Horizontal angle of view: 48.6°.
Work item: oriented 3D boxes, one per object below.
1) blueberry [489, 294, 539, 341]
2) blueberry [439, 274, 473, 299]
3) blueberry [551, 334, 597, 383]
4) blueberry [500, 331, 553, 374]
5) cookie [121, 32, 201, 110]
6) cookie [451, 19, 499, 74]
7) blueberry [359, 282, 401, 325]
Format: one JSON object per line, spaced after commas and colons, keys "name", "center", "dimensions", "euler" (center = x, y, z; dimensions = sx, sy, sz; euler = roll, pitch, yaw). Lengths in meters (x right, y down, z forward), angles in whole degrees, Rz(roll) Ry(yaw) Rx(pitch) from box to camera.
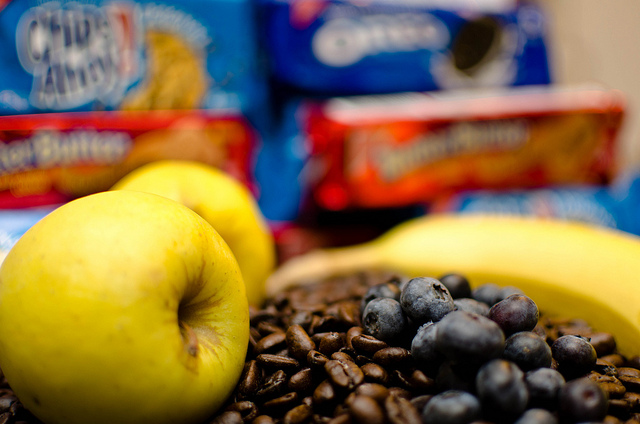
{"name": "blueberry", "center": [0.718, 0.354, 2.616], "dimensions": [0.115, 0.190, 0.131], "euler": [-5, 7, -20]}
{"name": "blueberry", "center": [0.544, 0.292, 2.847], "dimensions": [0.104, 0.087, 0.082], "euler": [10, 2, 35]}
{"name": "blueberry", "center": [0.960, 0.540, 2.662], "dimensions": [0.154, 0.185, 0.158], "euler": [8, -9, -19]}
{"name": "blueberry", "center": [0.732, 0.492, 2.514], "dimensions": [0.105, 0.186, 0.110], "euler": [15, 23, 29]}
{"name": "cookie", "center": [-0.767, -0.671, 3.395], "dimensions": [0.367, 0.342, 0.085], "euler": [-3, 20, -6]}
{"name": "cookie", "center": [0.778, -0.829, 3.566], "dimensions": [0.234, 0.246, 0.078], "euler": [-7, 20, -17]}
{"name": "blueberry", "center": [0.247, 0.360, 2.849], "dimensions": [0.141, 0.186, 0.152], "euler": [-1, -22, 6]}
